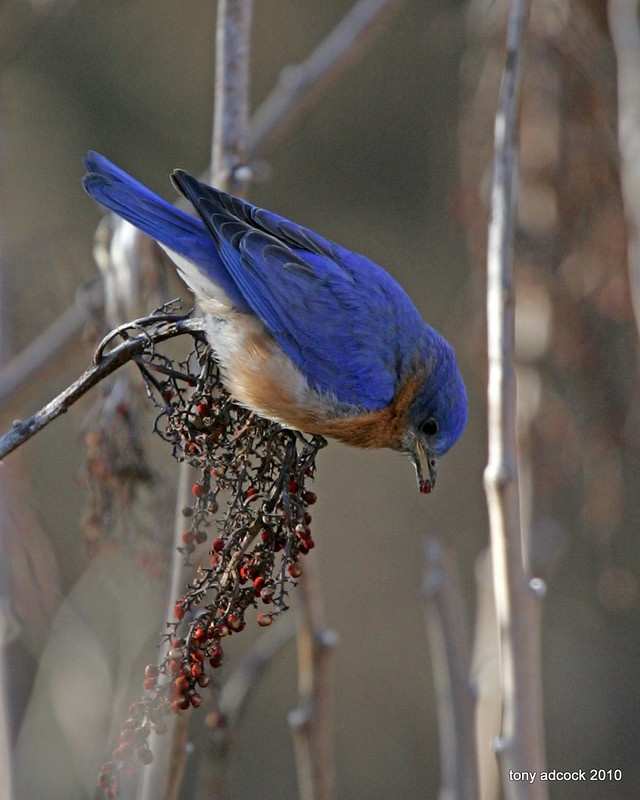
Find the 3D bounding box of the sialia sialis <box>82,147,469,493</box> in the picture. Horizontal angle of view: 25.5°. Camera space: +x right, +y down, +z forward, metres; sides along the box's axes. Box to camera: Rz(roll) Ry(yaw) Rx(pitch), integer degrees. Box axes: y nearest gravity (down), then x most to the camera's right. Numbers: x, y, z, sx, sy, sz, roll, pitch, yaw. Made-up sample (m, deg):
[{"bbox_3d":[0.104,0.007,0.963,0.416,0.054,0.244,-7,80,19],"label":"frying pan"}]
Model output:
[{"bbox_3d":[-0.151,-0.266,5.206,1.445,0.599,0.425,42,7,-11],"label":"sialia sialis"}]
